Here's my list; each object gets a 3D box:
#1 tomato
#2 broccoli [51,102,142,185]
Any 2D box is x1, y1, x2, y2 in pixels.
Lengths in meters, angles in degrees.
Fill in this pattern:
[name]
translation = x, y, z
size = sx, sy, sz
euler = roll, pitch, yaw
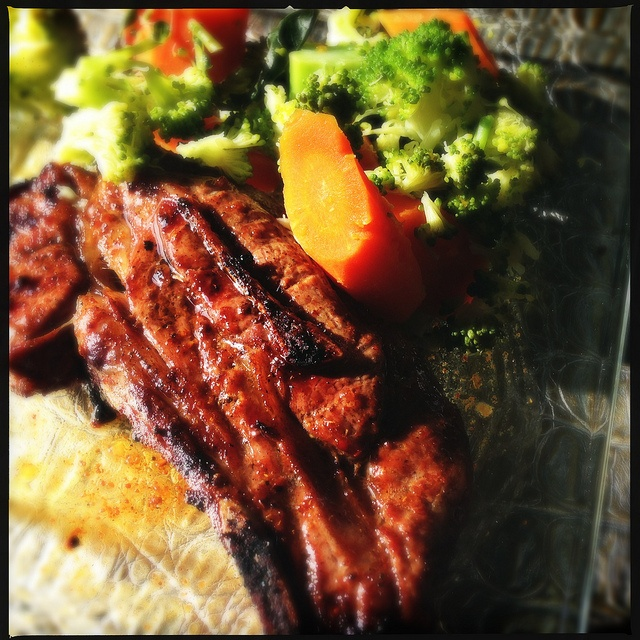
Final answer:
[tomato]
translation = -0.395, -0.814, 2.200
size = 0.250, 0.223, 0.272
euler = 2, 6, 44
[broccoli]
translation = -0.645, -0.522, 2.104
size = 0.279, 0.103, 0.269
euler = -7, 5, 25
